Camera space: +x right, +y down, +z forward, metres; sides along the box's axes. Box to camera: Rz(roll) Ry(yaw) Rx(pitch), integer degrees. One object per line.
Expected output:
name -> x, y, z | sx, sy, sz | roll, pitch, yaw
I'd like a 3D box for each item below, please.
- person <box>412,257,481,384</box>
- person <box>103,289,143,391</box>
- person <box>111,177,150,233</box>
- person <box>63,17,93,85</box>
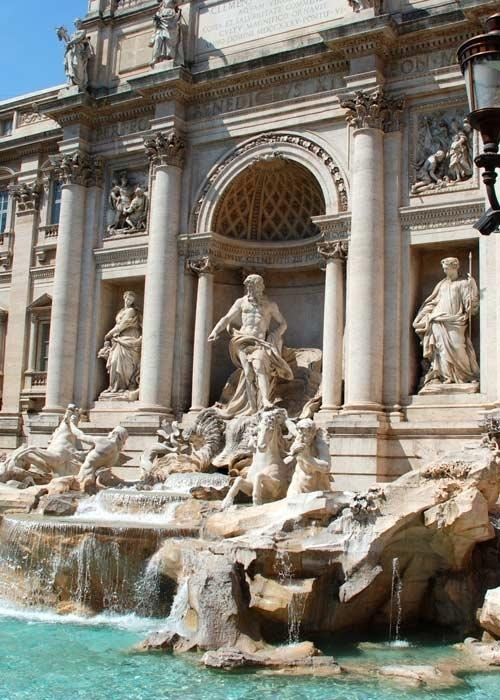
person -> 4.246, -0.554, 15.276 | 1.269, 2.741, 0.611 | -2, -10, 18
person -> -3.599, -0.176, 20.208 | 1.103, 2.914, 0.600 | 1, -9, 1
person -> -3.518, -4.213, 20.723 | 1.420, 1.765, 0.448 | -6, -12, 36
person -> -5.135, -8.650, 21.463 | 0.839, 2.106, 0.716 | 5, -10, -25
